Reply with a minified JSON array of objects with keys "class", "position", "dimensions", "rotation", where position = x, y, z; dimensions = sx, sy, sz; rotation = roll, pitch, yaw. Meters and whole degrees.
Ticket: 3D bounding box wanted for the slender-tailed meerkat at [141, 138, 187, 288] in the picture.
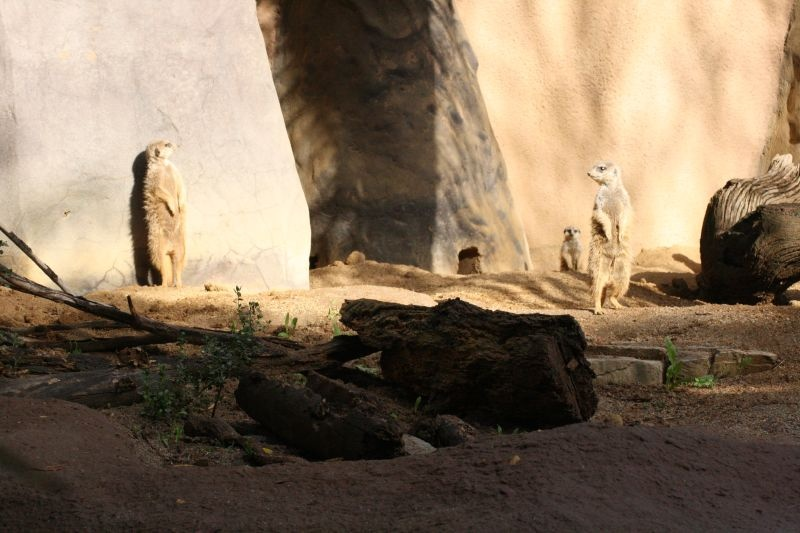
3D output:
[{"class":"slender-tailed meerkat","position":[-3.395,-0.774,16.302],"dimensions":[0.588,2.087,0.427],"rotation":[1,-2,-12]}]
